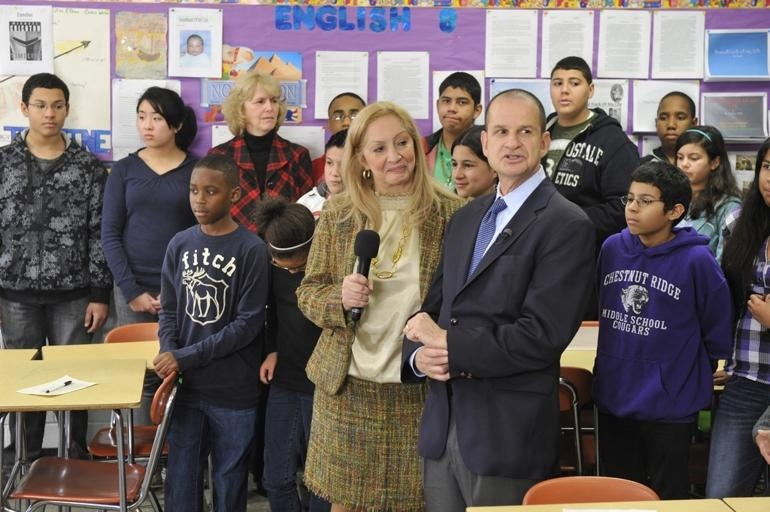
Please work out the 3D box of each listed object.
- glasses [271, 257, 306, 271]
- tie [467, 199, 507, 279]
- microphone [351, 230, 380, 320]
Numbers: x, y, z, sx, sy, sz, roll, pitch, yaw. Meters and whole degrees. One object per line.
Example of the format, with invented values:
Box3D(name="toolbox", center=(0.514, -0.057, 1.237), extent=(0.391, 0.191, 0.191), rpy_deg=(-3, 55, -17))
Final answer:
Box3D(name="glasses", center=(-0.528, 0.046, 4.376), extent=(0.105, 0.099, 0.030), rpy_deg=(5, 34, 24))
Box3D(name="tie", center=(0.449, -0.088, 3.521), extent=(0.105, 0.359, 0.175), rpy_deg=(7, 8, 41))
Box3D(name="microphone", center=(-0.093, 0.097, 3.770), extent=(0.110, 0.449, 0.222), rpy_deg=(5, 7, 31))
